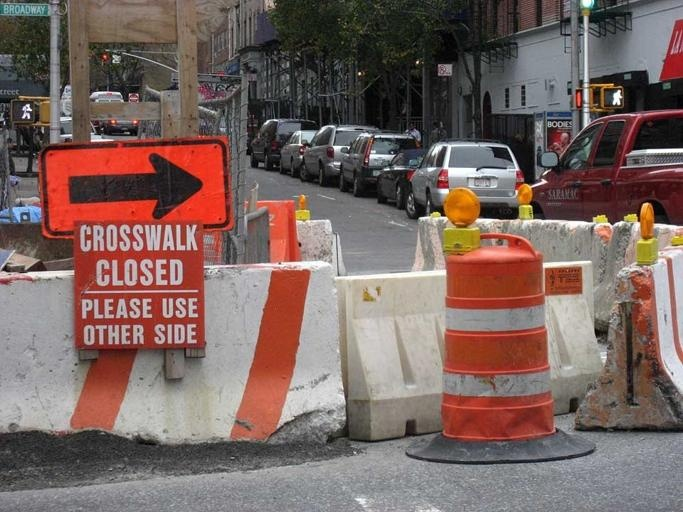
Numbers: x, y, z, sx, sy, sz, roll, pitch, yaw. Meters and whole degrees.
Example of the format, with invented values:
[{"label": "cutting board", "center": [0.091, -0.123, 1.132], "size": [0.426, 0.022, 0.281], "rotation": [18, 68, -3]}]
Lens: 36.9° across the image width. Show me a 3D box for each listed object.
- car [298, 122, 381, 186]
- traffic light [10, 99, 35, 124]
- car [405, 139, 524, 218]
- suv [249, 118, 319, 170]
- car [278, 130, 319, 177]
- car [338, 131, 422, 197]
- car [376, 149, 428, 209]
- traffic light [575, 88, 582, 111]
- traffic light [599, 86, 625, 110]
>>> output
[{"label": "car", "center": [-0.436, -3.526, 35.029], "size": [1.391, 1.446, 3.225], "rotation": [-2, 10, -9]}, {"label": "traffic light", "center": [-7.143, -3.199, 22.884], "size": [0.256, 0.603, 0.582], "rotation": [2, 3, 38]}, {"label": "car", "center": [2.625, -1.781, 23.324], "size": [1.362, 1.349, 2.849], "rotation": [0, 7, -7]}, {"label": "suv", "center": [-2.719, -4.781, 43.051], "size": [1.519, 1.498, 3.585], "rotation": [-2, 10, -11]}, {"label": "car", "center": [-1.569, -3.770, 38.144], "size": [1.411, 1.464, 3.810], "rotation": [-1, 9, -6]}, {"label": "car", "center": [0.861, -2.918, 31.038], "size": [1.200, 1.298, 2.824], "rotation": [-1, 11, -8]}, {"label": "car", "center": [1.670, -2.099, 27.753], "size": [1.109, 1.167, 2.381], "rotation": [-2, 6, -13]}, {"label": "traffic light", "center": [5.487, -3.625, 23.697], "size": [0.160, 0.457, 0.257], "rotation": [0, 7, 11]}, {"label": "traffic light", "center": [5.880, -3.432, 22.398], "size": [0.480, 0.506, 0.443], "rotation": [1, 8, 14]}]
